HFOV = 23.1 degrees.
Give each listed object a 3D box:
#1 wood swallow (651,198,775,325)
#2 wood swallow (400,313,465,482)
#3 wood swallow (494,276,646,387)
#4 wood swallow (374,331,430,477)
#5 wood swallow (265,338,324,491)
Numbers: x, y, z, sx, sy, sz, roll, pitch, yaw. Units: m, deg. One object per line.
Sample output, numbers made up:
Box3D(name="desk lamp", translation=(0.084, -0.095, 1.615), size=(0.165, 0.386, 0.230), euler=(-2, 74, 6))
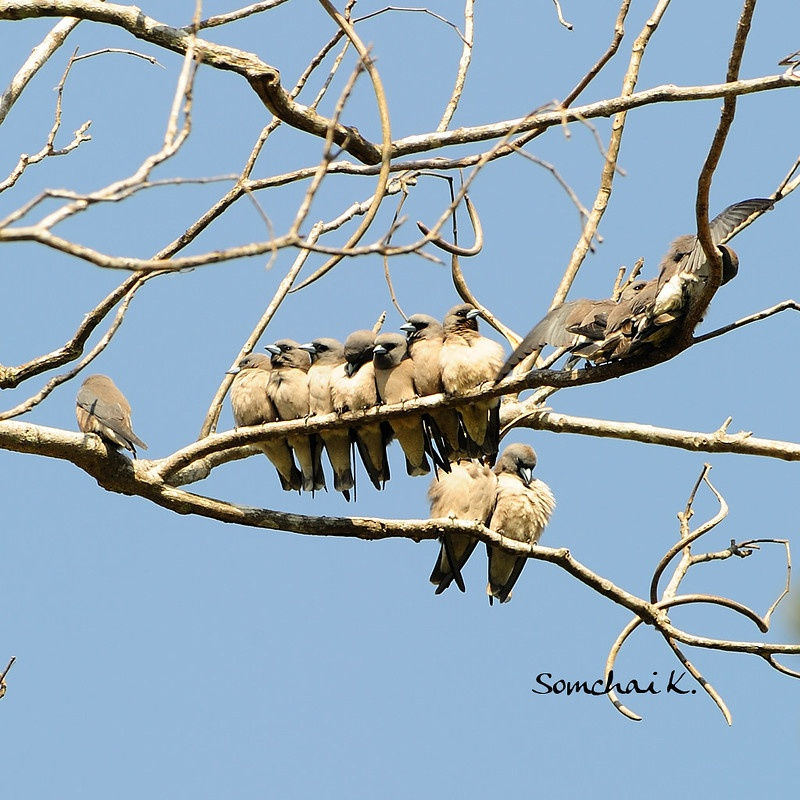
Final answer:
Box3D(name="wood swallow", translation=(1.344, -0.591, 9.171), size=(0.547, 0.786, 0.485), euler=(-12, -91, -21))
Box3D(name="wood swallow", translation=(0.183, 0.068, 10.200), size=(0.249, 0.385, 0.898), euler=(-11, -68, 19))
Box3D(name="wood swallow", translation=(0.899, -0.373, 9.678), size=(0.771, 0.250, 0.482), euler=(-2, -77, -8))
Box3D(name="wood swallow", translation=(-0.002, 0.012, 10.087), size=(0.217, 0.365, 0.866), euler=(-5, -61, 9))
Box3D(name="wood swallow", translation=(-0.541, 0.114, 10.190), size=(0.203, 0.794, 0.326), euler=(-2, -29, -8))
